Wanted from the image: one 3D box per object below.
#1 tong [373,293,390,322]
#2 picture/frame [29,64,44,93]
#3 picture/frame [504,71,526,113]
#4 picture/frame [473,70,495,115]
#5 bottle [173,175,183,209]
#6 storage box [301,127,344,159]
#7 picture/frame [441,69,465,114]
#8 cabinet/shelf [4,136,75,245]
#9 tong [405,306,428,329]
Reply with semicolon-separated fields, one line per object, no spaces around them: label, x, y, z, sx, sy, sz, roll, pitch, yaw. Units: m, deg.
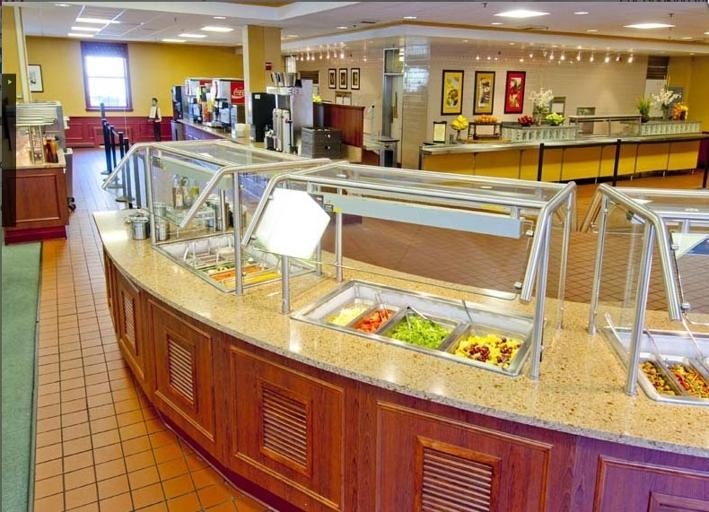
tong;0.162;0.317;3.128;0.091;0.144;0.027;-26;-25;28
picture/frame;-9.470;-5.330;15.219;0.233;0.810;0.360;9;18;32
picture/frame;4.057;-4.217;13.071;0.717;1.032;0.227;-13;19;-36
picture/frame;3.178;-4.070;12.643;0.794;1.015;0.274;-13;19;-37
bottle;-1.375;-0.506;3.980;0.103;0.242;0.044;8;18;31
storage box;-0.546;-1.894;8.507;0.541;0.504;0.551;-7;16;-20
picture/frame;2.261;-3.947;12.021;0.957;1.191;0.051;-11;19;-36
cabinet/shelf;-4.245;-0.849;6.868;0.933;1.044;1.523;-5;22;-17
tong;0.349;0.357;2.971;0.089;0.039;0.115;-18;48;-24
